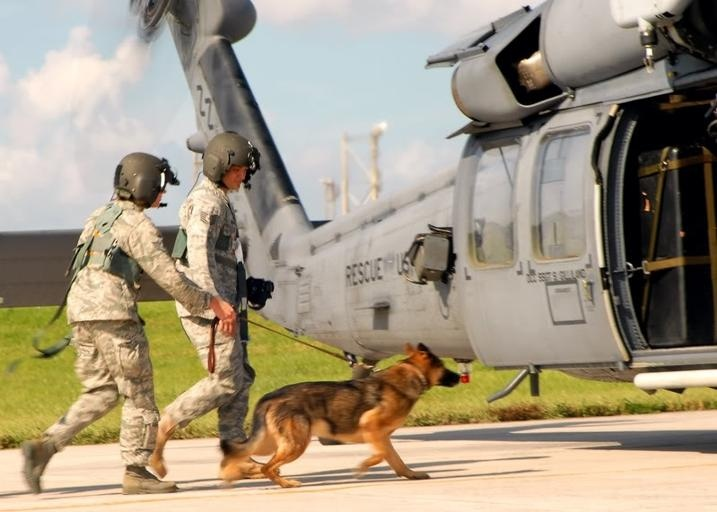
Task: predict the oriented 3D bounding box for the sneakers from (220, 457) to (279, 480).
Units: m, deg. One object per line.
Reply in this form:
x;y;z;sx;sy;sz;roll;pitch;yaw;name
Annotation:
-1.035;1.951;11.366;0.188;0.274;0.565;-4;-6;45;sneakers

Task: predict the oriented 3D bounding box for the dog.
-0.185;1.480;11.335;2.122;1.237;0.554;-2;-6;-21;dog

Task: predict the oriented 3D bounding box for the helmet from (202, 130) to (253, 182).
-1.216;-0.965;11.943;0.574;0.460;0.497;8;19;-12;helmet

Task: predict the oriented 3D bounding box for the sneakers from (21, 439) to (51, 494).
-2.844;1.888;11.120;0.248;0.474;0.200;-6;-6;17;sneakers
